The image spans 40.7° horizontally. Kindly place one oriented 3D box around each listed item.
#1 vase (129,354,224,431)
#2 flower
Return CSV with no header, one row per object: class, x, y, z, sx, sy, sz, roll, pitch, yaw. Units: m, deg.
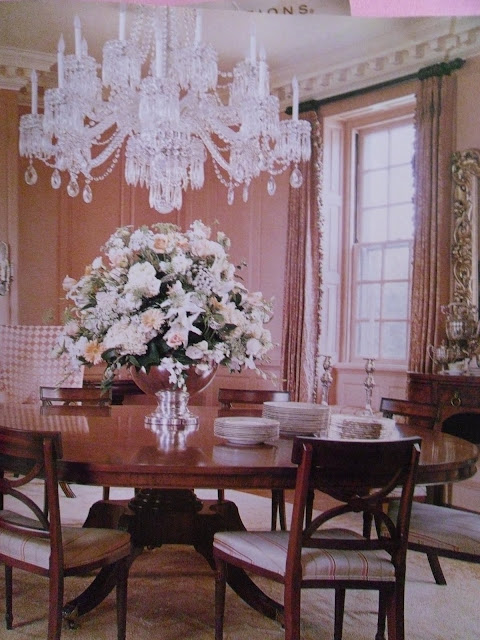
vase,-0.263,0.261,2.438,0.348,0.279,0.366,14,-27,-32
flower,-0.266,-0.054,2.406,0.690,0.478,0.686,3,-2,-45
